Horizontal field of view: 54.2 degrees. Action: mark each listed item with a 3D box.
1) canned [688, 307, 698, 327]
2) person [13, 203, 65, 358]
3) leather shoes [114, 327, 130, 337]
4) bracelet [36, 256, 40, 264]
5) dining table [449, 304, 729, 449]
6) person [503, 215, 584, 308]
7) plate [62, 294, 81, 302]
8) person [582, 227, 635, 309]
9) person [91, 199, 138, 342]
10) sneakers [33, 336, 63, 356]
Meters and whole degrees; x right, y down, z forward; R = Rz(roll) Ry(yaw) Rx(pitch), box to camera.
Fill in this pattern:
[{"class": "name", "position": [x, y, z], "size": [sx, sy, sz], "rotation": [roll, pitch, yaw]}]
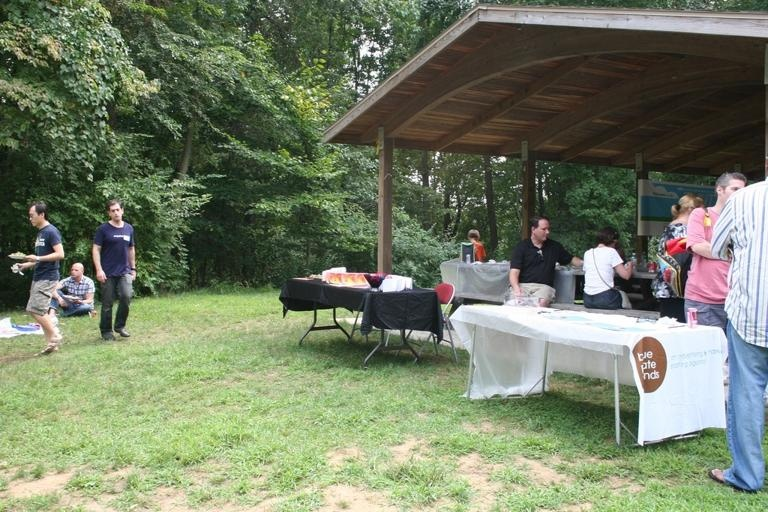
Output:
[{"class": "canned", "position": [3.447, 0.685, 8.359], "size": [0.091, 0.187, 0.196], "rotation": [2, 0, 18]}, {"class": "person", "position": [-5.146, 0.312, 11.171], "size": [0.661, 2.195, 1.137], "rotation": [1, 1, -24]}, {"class": "leather shoes", "position": [-4.226, 1.226, 12.066], "size": [0.120, 0.120, 0.316], "rotation": [-1, 3, -44]}, {"class": "bracelet", "position": [-4.951, 0.049, 10.704], "size": [0.070, 0.065, 0.022], "rotation": [-4, 11, -36]}, {"class": "dining table", "position": [2.403, 1.323, 8.716], "size": [2.745, 1.370, 1.005], "rotation": [1, 0, 37]}, {"class": "person", "position": [2.375, 0.086, 11.111], "size": [0.981, 1.117, 0.555], "rotation": [1, 0, 2]}, {"class": "plate", "position": [-5.669, 0.772, 13.595], "size": [0.293, 0.132, 0.111], "rotation": [1, 0, -18]}, {"class": "person", "position": [3.225, 0.167, 10.806], "size": [0.691, 1.049, 0.659], "rotation": [2, 0, 14]}, {"class": "person", "position": [-4.254, 0.223, 11.822], "size": [0.602, 2.207, 0.764], "rotation": [1, 1, -19]}, {"class": "sneakers", "position": [-4.923, 1.349, 10.966], "size": [0.457, 0.120, 0.176], "rotation": [-35, -10, 11]}]
